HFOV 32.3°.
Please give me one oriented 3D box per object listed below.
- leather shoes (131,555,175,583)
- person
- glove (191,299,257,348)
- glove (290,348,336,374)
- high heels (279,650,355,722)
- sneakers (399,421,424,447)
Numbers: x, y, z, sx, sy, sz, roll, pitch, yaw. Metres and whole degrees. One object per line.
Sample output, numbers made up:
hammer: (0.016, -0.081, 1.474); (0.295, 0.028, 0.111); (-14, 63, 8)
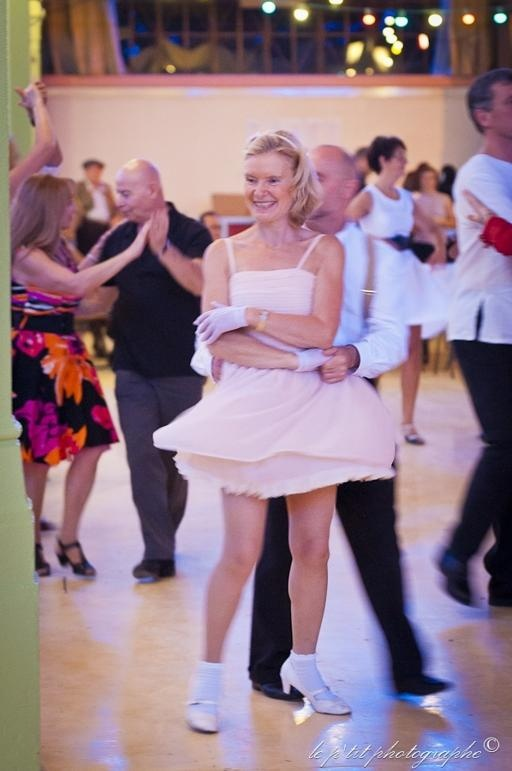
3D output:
leather shoes: (-0.327, 0.592, 2.855); (0.166, 0.051, 0.105); (2, 13, -17)
person: (0.247, 0.073, 2.008); (0.387, 1.248, 0.909); (7, 8, 40)
glove: (-0.062, -0.129, 1.757); (0.109, 0.062, 0.034); (-31, 2, 15)
glove: (0.117, -0.054, 1.784); (0.072, 0.041, 0.020); (-2, 7, -27)
high heels: (0.125, 0.631, 1.890); (0.146, 0.144, 0.091); (6, 8, 37)
sneakers: (0.735, 0.233, 4.091); (0.075, 0.075, 0.204); (-9, -1, -3)
